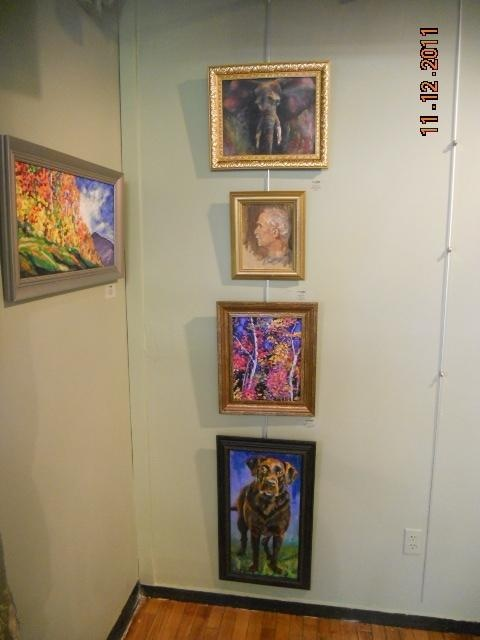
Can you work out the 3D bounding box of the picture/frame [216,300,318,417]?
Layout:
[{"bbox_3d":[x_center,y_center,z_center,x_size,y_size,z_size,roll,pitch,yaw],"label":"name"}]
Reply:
[{"bbox_3d":[0.101,0.158,1.986,0.362,0.522,0.030,0,32,2],"label":"picture/frame"}]

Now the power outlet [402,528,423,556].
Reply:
[{"bbox_3d":[0.667,0.850,2.043,0.082,0.147,0.012,1,5,9],"label":"power outlet"}]

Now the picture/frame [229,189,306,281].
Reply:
[{"bbox_3d":[0.102,-0.298,1.920,0.273,0.355,0.017,1,39,4],"label":"picture/frame"}]
